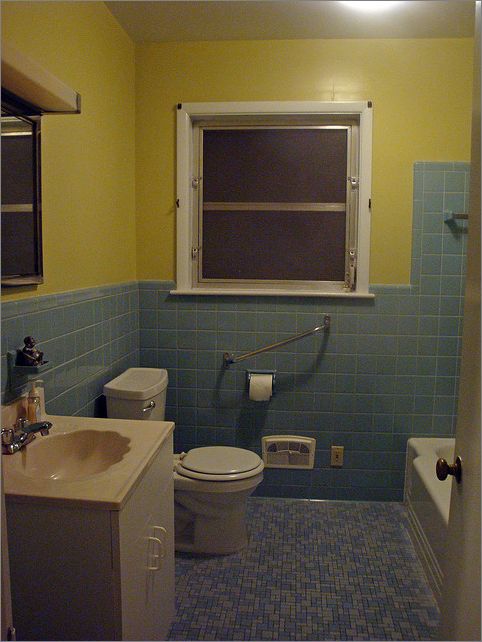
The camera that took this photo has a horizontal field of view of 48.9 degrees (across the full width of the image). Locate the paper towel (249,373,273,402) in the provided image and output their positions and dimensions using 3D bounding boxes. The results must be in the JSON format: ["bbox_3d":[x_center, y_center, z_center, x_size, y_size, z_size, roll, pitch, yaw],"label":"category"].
[{"bbox_3d":[0.101,0.338,2.707,0.141,0.160,0.083,3,4,3],"label":"paper towel"}]

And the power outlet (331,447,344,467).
[{"bbox_3d":[0.517,0.730,2.832,0.069,0.112,0.019,2,7,8],"label":"power outlet"}]

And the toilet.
[{"bbox_3d":[-0.261,0.651,2.345,0.756,0.715,0.429,4,0,-5],"label":"toilet"}]
